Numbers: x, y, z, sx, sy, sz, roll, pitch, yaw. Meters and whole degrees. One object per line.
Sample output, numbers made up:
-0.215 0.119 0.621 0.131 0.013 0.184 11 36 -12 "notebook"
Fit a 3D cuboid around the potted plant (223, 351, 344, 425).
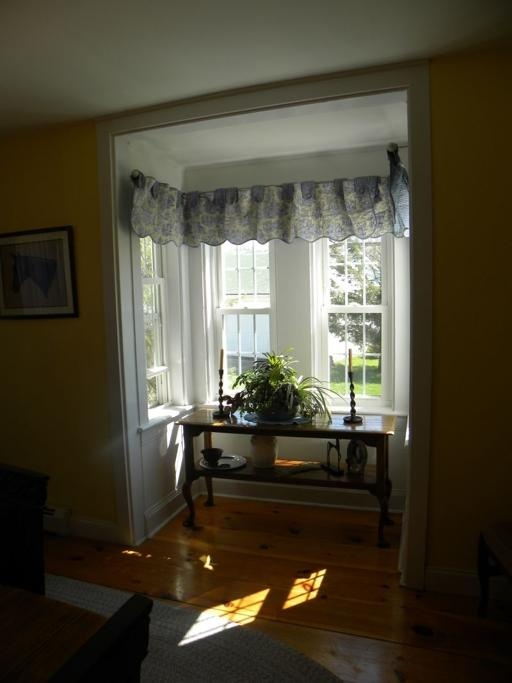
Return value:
0.142 0.283 3.260 0.564 0.398 0.504 3 -5 7 "potted plant"
